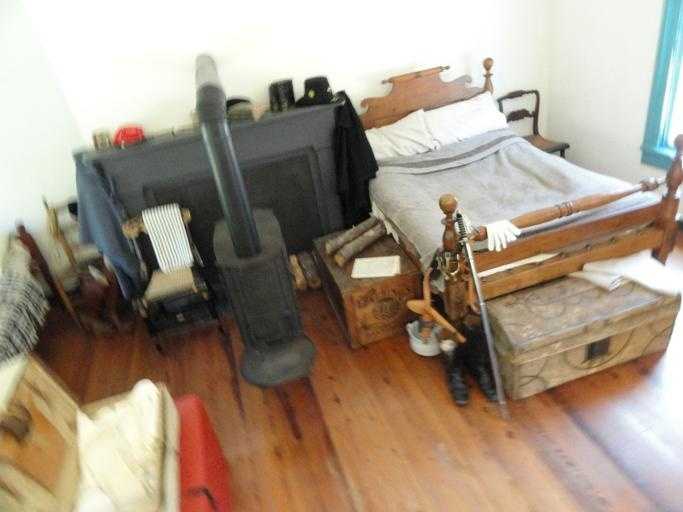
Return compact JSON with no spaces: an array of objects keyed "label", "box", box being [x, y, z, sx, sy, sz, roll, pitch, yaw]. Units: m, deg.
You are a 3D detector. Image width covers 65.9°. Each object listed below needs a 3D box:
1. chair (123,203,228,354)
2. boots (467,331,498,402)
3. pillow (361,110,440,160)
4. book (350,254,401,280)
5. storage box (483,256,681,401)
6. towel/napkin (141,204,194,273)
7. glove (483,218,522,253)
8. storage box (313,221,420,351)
[{"label":"chair","box":[-1.328,0.159,4.125,0.696,1.003,0.665,-27,29,-35]},{"label":"boots","box":[0.923,0.716,3.415,0.138,0.288,0.415,-16,52,0]},{"label":"pillow","box":[0.543,-1.085,4.744,0.614,0.288,0.395,-13,30,-6]},{"label":"book","box":[0.251,0.081,3.855,0.267,0.053,0.191,-1,42,5]},{"label":"storage box","box":[1.434,0.422,3.352,1.215,0.607,0.740,-15,41,-11]},{"label":"towel/napkin","box":[-1.340,-0.136,4.070,0.330,0.524,0.156,-8,17,3]},{"label":"glove","box":[0.995,-0.121,3.294,0.201,0.197,0.050,-16,-3,-2]},{"label":"storage box","box":[0.248,0.340,4.093,0.706,0.600,0.966,-19,49,-13]}]
